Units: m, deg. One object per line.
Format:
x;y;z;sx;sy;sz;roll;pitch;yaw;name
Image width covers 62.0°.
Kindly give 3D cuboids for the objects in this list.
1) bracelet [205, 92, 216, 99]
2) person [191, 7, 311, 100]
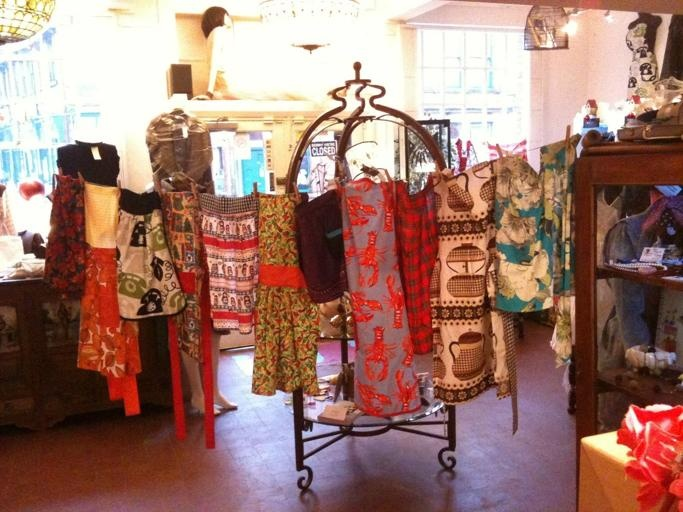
-1.149;-1.422;5.025;0.075;0.038;0.103;8;-8;-4;bracelet
-0.742;-1.910;5.477;1.115;1.139;0.620;-11;16;-6;person
